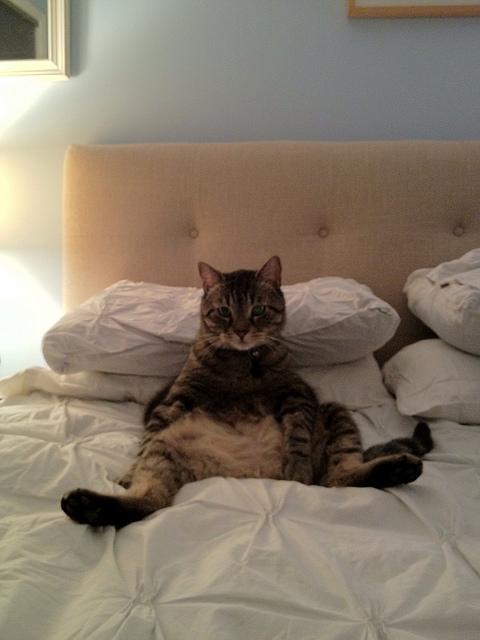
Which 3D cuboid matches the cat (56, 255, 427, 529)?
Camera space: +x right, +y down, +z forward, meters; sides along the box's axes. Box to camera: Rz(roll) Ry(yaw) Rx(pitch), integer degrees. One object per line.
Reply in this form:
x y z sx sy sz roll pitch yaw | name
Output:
-0.064 0.098 1.429 0.663 0.432 0.641 -2 11 -12 | cat
